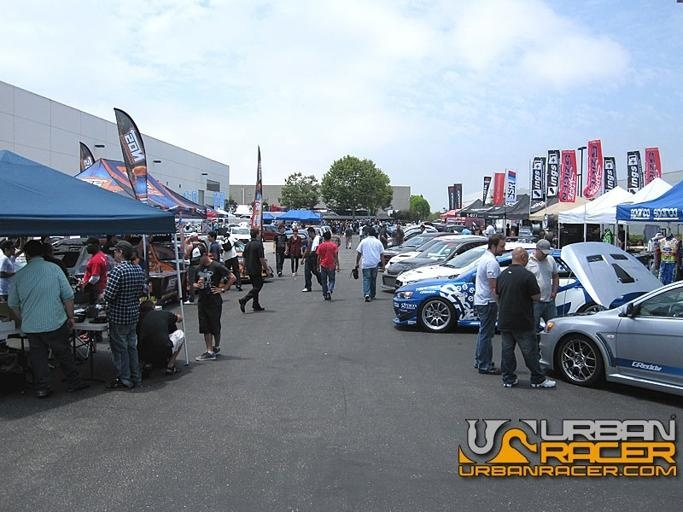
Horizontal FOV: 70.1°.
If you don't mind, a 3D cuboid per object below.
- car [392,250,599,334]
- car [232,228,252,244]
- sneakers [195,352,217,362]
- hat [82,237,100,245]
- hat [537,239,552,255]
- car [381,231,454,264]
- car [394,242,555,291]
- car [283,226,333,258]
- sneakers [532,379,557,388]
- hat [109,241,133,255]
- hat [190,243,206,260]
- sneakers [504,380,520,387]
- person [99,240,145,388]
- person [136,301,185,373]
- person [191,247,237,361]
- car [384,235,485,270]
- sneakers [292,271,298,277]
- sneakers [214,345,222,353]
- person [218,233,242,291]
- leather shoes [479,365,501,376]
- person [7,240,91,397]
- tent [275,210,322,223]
[{"bbox_3d":[3.201,0.775,10.763,3.849,1.356,1.740,0,1,4],"label":"car"},{"bbox_3d":[-6.468,-1.380,31.600,1.324,1.101,2.221,2,13,-11],"label":"car"},{"bbox_3d":[-2.511,1.870,9.072,0.405,0.180,0.150,5,-2,-21],"label":"sneakers"},{"bbox_3d":[-5.967,-0.371,11.598,0.264,0.145,0.395,-2,10,-35],"label":"hat"},{"bbox_3d":[3.458,-0.174,8.397,0.197,0.168,0.273,-6,22,-15],"label":"hat"},{"bbox_3d":[3.490,-0.568,22.906,3.252,1.135,1.491,-5,4,-34],"label":"car"},{"bbox_3d":[3.588,0.206,13.543,3.554,1.241,1.560,-2,2,-10],"label":"car"},{"bbox_3d":[-1.593,-0.501,21.870,1.668,1.269,3.746,0,8,8],"label":"car"},{"bbox_3d":[3.064,1.934,7.392,0.357,0.171,0.156,-2,0,-3],"label":"sneakers"},{"bbox_3d":[-3.507,-0.161,7.757,0.467,0.221,0.324,3,2,24],"label":"hat"},{"bbox_3d":[-3.947,-0.121,13.341,0.305,0.296,0.495,21,-33,-25],"label":"hat"},{"bbox_3d":[2.576,1.938,7.395,0.201,0.082,0.086,0,-1,-40],"label":"sneakers"},{"bbox_3d":[-3.385,0.890,7.606,0.591,2.247,0.508,-2,3,-31],"label":"person"},{"bbox_3d":[-3.161,1.386,8.278,0.775,1.222,0.664,-3,2,3],"label":"person"},{"bbox_3d":[-2.470,0.861,9.354,0.665,2.087,0.884,-1,3,-16],"label":"person"},{"bbox_3d":[3.318,-0.297,18.850,3.679,1.288,1.643,-3,1,-28],"label":"car"},{"bbox_3d":[-2.356,0.898,24.370,0.122,0.159,0.368,-1,-7,6],"label":"sneakers"},{"bbox_3d":[-2.385,1.790,9.343,0.087,0.123,0.124,3,-2,-15],"label":"sneakers"},{"bbox_3d":[-4.092,0.019,17.890,0.680,2.214,0.691,-4,26,-10],"label":"person"},{"bbox_3d":[2.441,1.881,8.104,0.405,0.176,0.139,-4,14,0],"label":"leather shoes"},{"bbox_3d":[-4.322,0.896,7.152,0.916,2.279,0.408,-1,3,-24],"label":"person"},{"bbox_3d":[-3.701,-3.806,44.015,3.240,1.122,7.941,0,3,-1],"label":"tent"}]
